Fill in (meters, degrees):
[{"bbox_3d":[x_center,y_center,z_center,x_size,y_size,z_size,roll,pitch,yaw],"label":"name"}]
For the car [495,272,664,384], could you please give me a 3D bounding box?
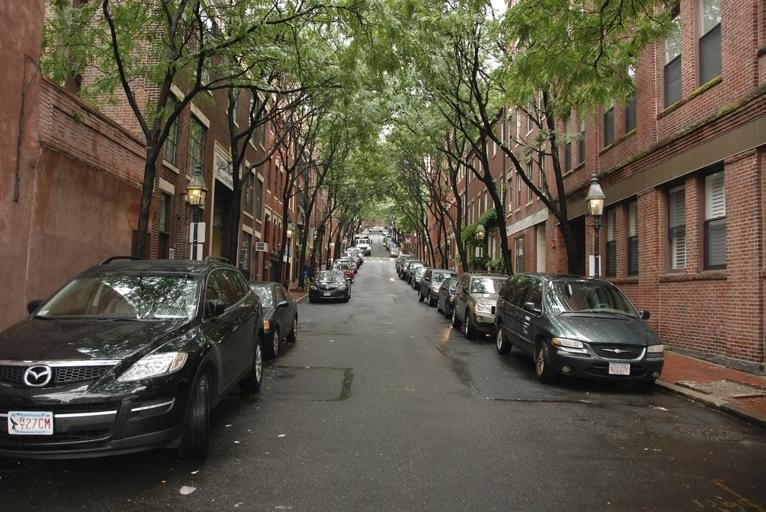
[{"bbox_3d":[4.022,1.529,12.645,1.775,1.563,3.696,3,-9,-2],"label":"car"}]
